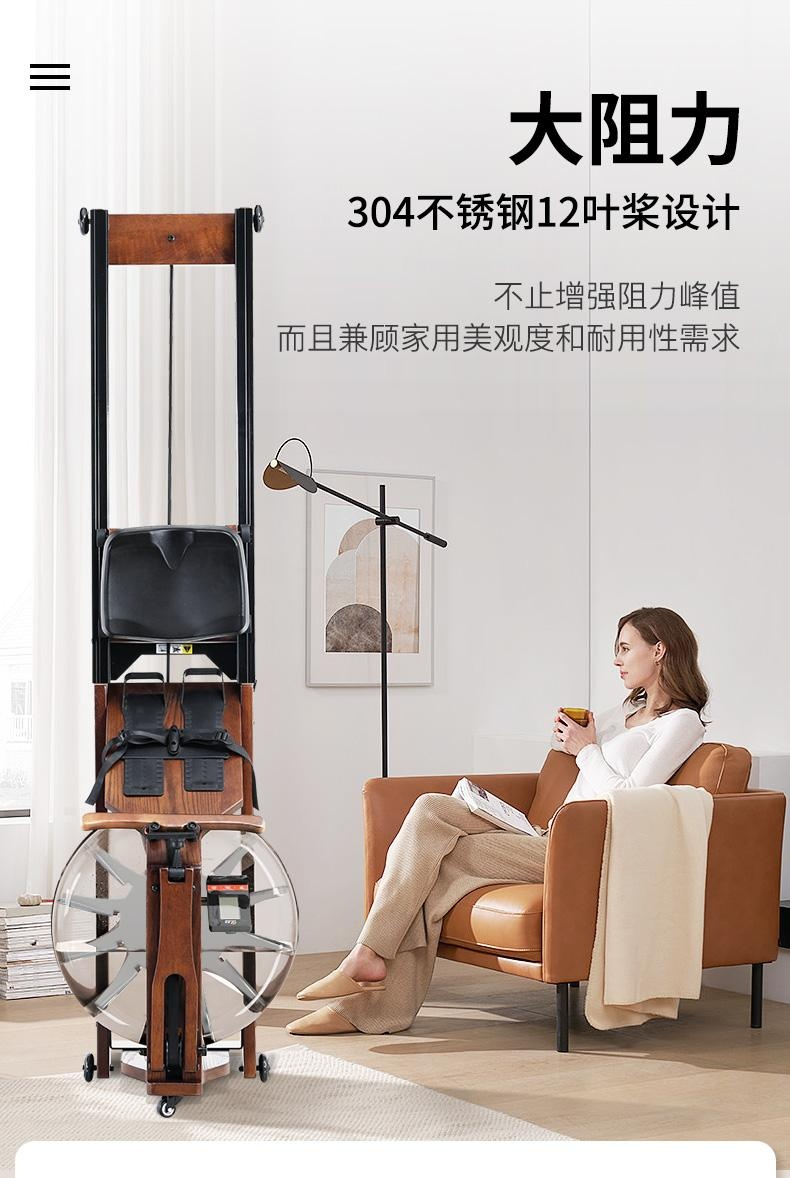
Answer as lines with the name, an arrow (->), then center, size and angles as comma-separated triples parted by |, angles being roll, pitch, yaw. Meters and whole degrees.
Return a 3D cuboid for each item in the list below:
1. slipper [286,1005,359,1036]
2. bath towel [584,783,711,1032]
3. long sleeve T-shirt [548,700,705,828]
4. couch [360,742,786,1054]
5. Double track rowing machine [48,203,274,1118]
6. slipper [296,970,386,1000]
slipper -> -0.184, 1.114, 3.058 | 0.203, 0.085, 0.074 | 4, -18, -5
bath towel -> 0.666, 0.808, 2.987 | 0.427, 0.593, 0.100 | 0, 1, -35
long sleeve T-shirt -> 0.675, 0.451, 3.325 | 0.358, 0.140, 0.325 | -32, 17, 2
couch -> 0.486, 0.819, 3.327 | 0.912, 0.789, 0.946 | 4, -7, -32
Double track rowing machine -> -0.461, 0.109, 2.440 | 0.503, 1.977, 0.691 | -1, 0, -8
slipper -> -0.138, 1.024, 3.050 | 0.237, 0.071, 0.087 | 1, -8, -22
